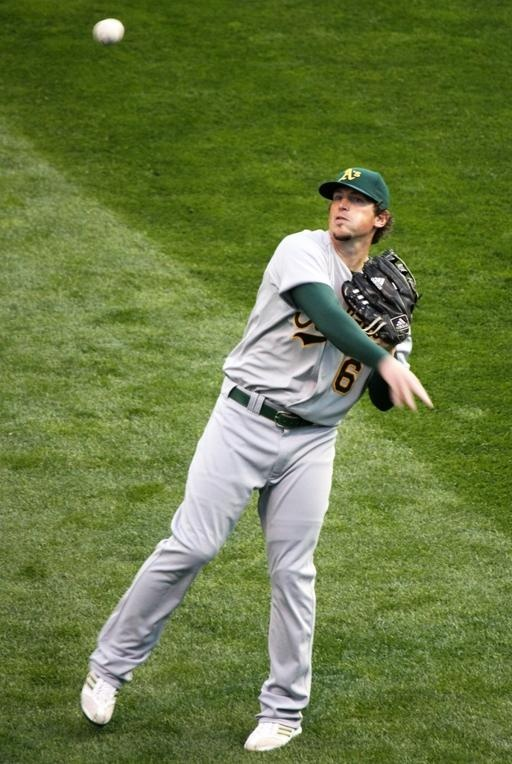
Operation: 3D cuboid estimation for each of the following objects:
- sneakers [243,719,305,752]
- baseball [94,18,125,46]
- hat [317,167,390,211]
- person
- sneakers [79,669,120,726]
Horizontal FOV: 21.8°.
[{"bbox_3d":[0.071,1.281,4.845,0.207,0.081,0.078,-9,23,-38],"label":"sneakers"},{"bbox_3d":[-1.170,-2.837,10.737,0.217,0.131,0.247,3,5,-3],"label":"baseball"},{"bbox_3d":[0.419,-0.713,4.943,0.235,0.105,0.162,18,-2,-40],"label":"hat"},{"bbox_3d":[0.136,0.300,4.897,0.810,2.135,0.885,21,18,4],"label":"person"},{"bbox_3d":[-0.574,1.139,4.853,0.091,0.095,0.235,33,18,-28],"label":"sneakers"}]
